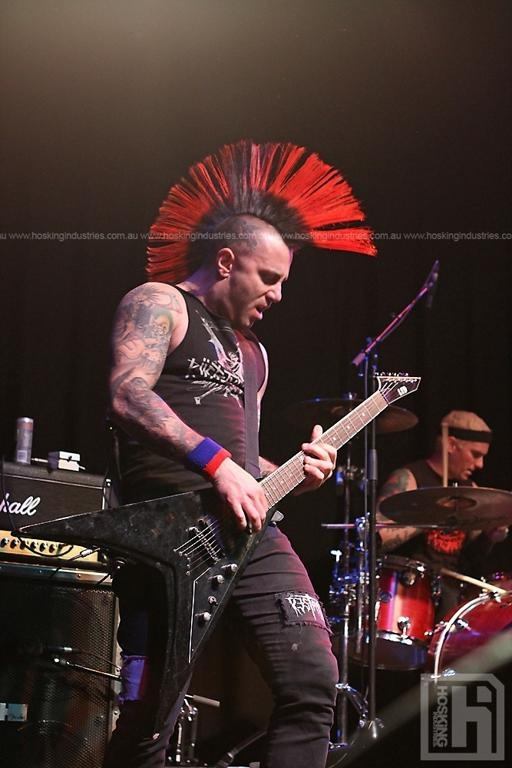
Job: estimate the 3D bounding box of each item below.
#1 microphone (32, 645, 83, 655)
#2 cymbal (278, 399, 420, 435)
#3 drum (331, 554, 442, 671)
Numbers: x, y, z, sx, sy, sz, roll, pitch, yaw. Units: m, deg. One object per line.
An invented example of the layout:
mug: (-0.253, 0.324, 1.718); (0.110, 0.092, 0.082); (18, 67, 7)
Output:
microphone: (-0.669, 0.893, 2.830); (0.165, 0.036, 0.040); (9, -2, -35)
cymbal: (0.468, 0.157, 4.298); (0.366, 0.062, 0.320); (2, -27, 0)
drum: (0.666, 1.070, 4.000); (0.596, 0.473, 0.559); (5, -34, 4)
